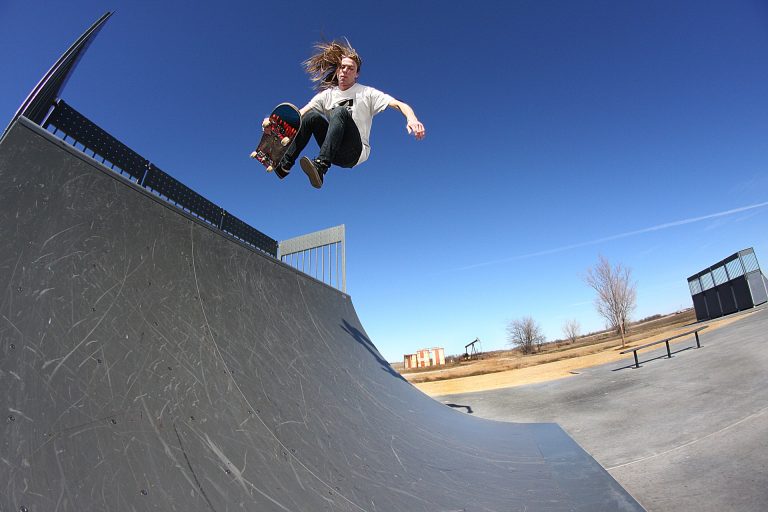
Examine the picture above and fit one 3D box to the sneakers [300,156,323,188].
[{"bbox_3d":[-0.731,-0.839,4.687,0.232,0.327,0.243,10,0,0],"label":"sneakers"}]
